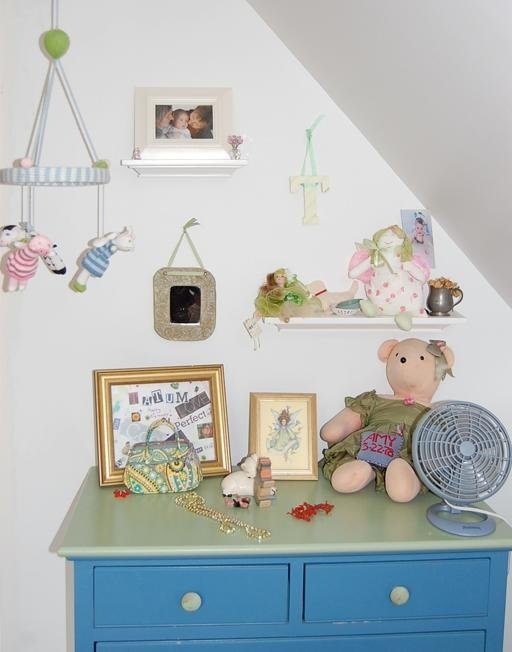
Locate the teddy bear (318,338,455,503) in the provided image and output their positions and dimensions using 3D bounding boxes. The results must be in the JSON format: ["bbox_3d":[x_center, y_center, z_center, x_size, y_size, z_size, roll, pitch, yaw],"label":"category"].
[{"bbox_3d":[0.382,0.248,1.883,0.335,0.412,0.446,10,11,44],"label":"teddy bear"}]

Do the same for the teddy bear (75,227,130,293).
[{"bbox_3d":[-0.433,-0.181,1.840,0.172,0.195,0.145,-2,14,-15],"label":"teddy bear"}]

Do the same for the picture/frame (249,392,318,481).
[{"bbox_3d":[0.078,0.325,1.882,0.273,0.291,0.025,-1,-7,-1],"label":"picture/frame"}]

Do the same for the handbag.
[{"bbox_3d":[-0.235,0.351,1.816,0.244,0.190,0.125,-10,0,20],"label":"handbag"}]

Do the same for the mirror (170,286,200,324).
[{"bbox_3d":[-0.204,-0.067,1.881,0.120,0.133,0.015,0,4,-2],"label":"mirror"}]

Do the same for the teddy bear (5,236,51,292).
[{"bbox_3d":[-0.622,-0.165,1.778,0.109,0.173,0.237,-5,14,-24],"label":"teddy bear"}]

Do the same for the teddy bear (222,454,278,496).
[{"bbox_3d":[-0.015,0.407,1.787,0.169,0.100,0.131,3,4,-12],"label":"teddy bear"}]

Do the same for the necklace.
[{"bbox_3d":[-0.090,0.448,1.633,0.081,0.019,0.262,-6,10,-41],"label":"necklace"}]

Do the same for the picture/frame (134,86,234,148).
[{"bbox_3d":[-0.204,-0.573,1.806,0.203,0.128,0.008,0,1,-3],"label":"picture/frame"}]

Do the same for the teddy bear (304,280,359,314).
[{"bbox_3d":[0.220,-0.085,1.914,0.147,0.062,0.082,-21,41,-13],"label":"teddy bear"}]

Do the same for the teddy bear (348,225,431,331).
[{"bbox_3d":[0.376,-0.154,1.875,0.233,0.253,0.229,4,13,12],"label":"teddy bear"}]

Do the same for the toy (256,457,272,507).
[{"bbox_3d":[0.022,0.414,1.721,0.036,0.090,0.087,1,-37,-4],"label":"toy"}]
